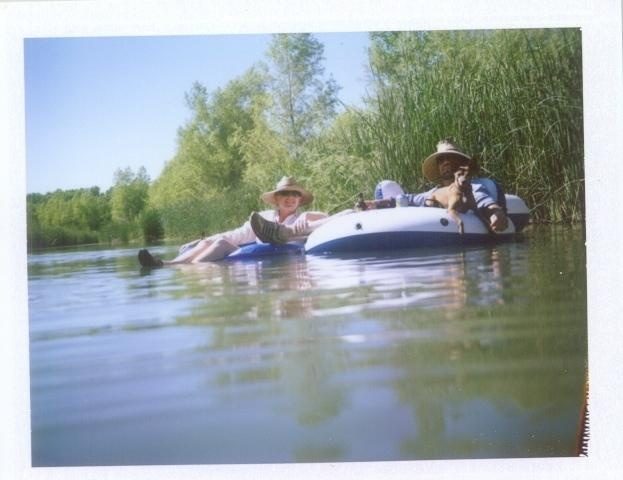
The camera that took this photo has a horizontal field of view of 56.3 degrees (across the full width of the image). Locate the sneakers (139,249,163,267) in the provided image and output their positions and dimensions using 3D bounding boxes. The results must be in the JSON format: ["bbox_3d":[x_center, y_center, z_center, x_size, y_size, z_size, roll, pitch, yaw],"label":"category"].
[{"bbox_3d":[-1.678,0.182,6.116,0.240,0.174,0.163,-5,2,-15],"label":"sneakers"}]

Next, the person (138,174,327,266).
[{"bbox_3d":[-0.778,-0.129,6.739,1.705,0.935,1.054,-9,1,-16],"label":"person"}]

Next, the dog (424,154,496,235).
[{"bbox_3d":[1.595,-0.536,6.361,0.614,0.920,0.925,-4,2,-2],"label":"dog"}]
